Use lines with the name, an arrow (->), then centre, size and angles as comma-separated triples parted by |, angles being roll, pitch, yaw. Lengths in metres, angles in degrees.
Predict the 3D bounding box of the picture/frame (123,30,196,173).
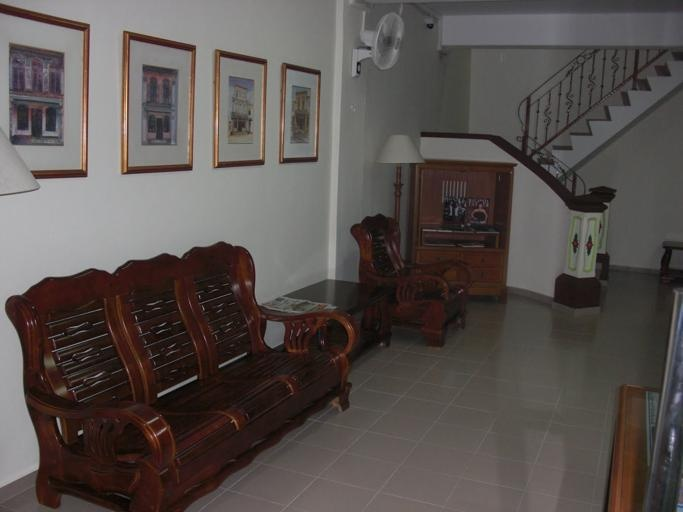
picture/frame -> -1.245, -1.025, 3.245 | 0.053, 0.901, 0.620 | 7, 12, 29

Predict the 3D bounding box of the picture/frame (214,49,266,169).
picture/frame -> -0.844, -1.211, 3.969 | 0.046, 0.923, 0.643 | 7, 12, 27

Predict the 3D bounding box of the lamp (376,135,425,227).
lamp -> 0.828, -1.079, 6.549 | 0.572, 1.210, 1.059 | 3, 11, 10

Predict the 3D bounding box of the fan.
fan -> 0.368, -2.299, 5.250 | 0.458, 0.733, 0.554 | 20, 31, 23
